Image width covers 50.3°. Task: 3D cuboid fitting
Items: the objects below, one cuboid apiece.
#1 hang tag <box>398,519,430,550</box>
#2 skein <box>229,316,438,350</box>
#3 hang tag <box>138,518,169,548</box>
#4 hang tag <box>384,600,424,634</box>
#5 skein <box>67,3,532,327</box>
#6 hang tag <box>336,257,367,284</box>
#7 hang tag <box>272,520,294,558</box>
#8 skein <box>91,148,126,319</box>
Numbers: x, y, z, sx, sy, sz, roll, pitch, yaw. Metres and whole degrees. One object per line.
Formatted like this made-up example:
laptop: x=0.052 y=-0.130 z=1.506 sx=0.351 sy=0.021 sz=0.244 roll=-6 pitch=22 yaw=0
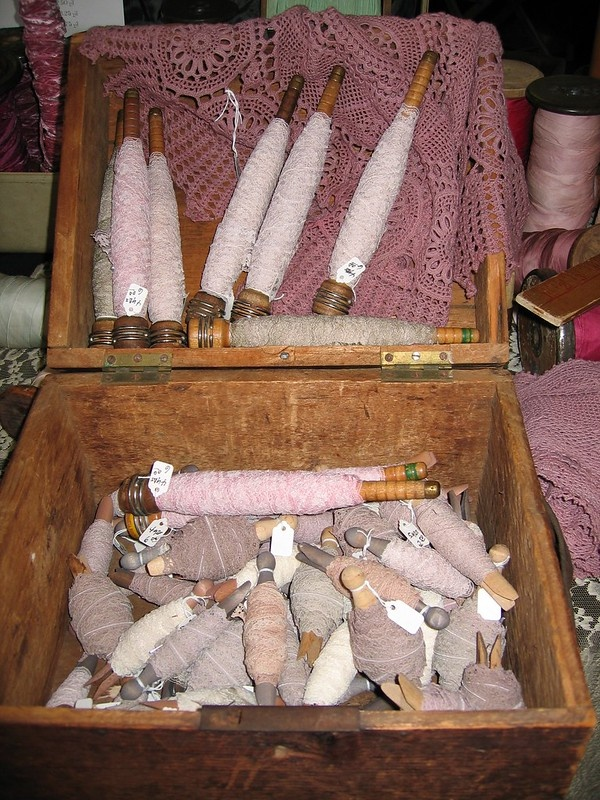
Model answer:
hang tag: x=0.246 y=0.294 z=1.392 sx=0.040 sy=0.075 sz=0.014 roll=-44 pitch=-3 yaw=-10
skein: x=0.071 y=-0.153 z=1.484 sx=0.447 sy=0.072 sz=0.077 roll=0 pitch=13 yaw=0
hang tag: x=-0.335 y=0.303 z=1.466 sx=0.052 sy=0.029 sz=0.052 roll=-52 pitch=36 yaw=-7
hang tag: x=0.191 y=0.409 z=1.216 sx=0.079 sy=0.018 sz=0.046 roll=36 pitch=55 yaw=16
skein: x=0.016 y=-0.727 z=1.837 sx=1.130 sy=0.755 sz=0.336 roll=2 pitch=11 yaw=11
hang tag: x=0.124 y=-0.317 z=1.569 sx=0.073 sy=0.053 sz=0.023 roll=-37 pitch=12 yaw=10
hang tag: x=-0.038 y=0.303 z=1.383 sx=0.052 sy=0.017 sz=0.069 roll=1 pitch=67 yaw=3
skein: x=-0.481 y=-0.419 z=1.661 sx=0.083 sy=0.444 sz=0.078 roll=-2 pitch=-6 yaw=14
